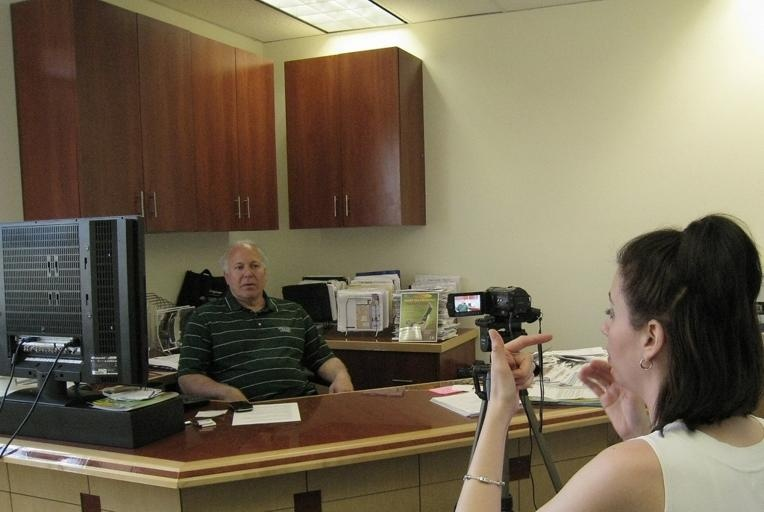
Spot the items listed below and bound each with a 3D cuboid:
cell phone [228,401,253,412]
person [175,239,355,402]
[{"bbox_3d":[-0.639,0.684,2.710,0.106,0.017,0.114,-2,12,-6],"label":"cell phone"},{"bbox_3d":[-0.805,0.571,3.883,1.143,1.142,0.856,8,-33,-37],"label":"person"}]
